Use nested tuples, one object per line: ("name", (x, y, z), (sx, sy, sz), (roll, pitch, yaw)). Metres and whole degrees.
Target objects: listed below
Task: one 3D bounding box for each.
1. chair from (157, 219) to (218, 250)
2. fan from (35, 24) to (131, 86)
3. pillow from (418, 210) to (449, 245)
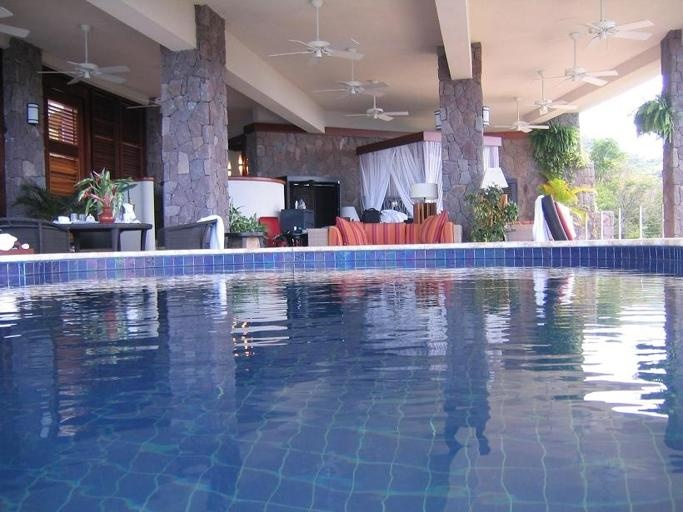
("chair", (-2.077, -0.260, 7.624), (0.541, 0.592, 0.494), (-3, -1, -23))
("fan", (-4.808, -3.760, 10.235), (0.954, 1.019, 1.112), (1, 4, 30))
("pillow", (1.423, -0.443, 8.767), (0.362, 0.492, 0.481), (25, -23, -32))
